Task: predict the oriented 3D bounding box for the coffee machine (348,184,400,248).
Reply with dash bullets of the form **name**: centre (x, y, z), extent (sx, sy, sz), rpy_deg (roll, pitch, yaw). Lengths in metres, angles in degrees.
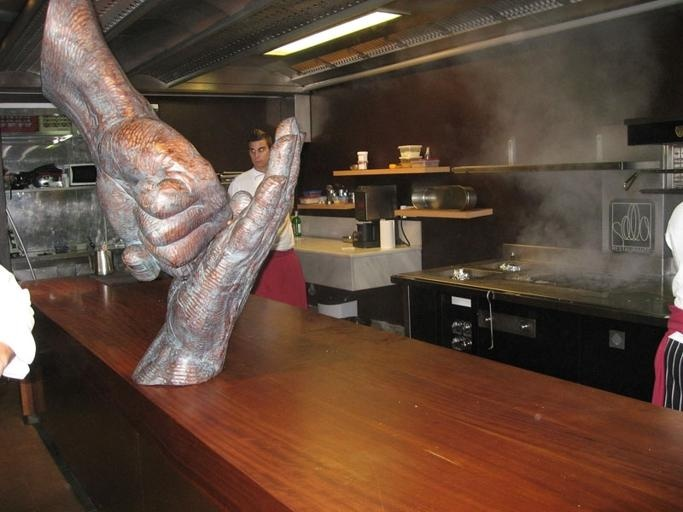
- **coffee machine**: centre (0.302, -0.355, 4.425), extent (0.398, 0.520, 0.310), rpy_deg (-1, 12, 4)
